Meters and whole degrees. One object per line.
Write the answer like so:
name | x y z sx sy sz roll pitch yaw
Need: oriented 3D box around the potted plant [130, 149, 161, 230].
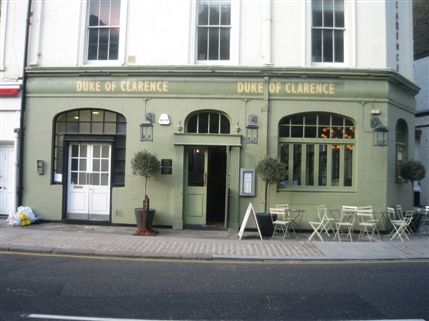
potted plant | -2.720 1.197 20.451 1.130 3.348 1.559 1 -2 -7

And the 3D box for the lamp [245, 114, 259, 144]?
lamp | 1.517 -1.301 20.885 0.510 1.207 0.577 0 -2 4

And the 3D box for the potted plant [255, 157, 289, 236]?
potted plant | 2.243 1.411 20.612 1.249 3.184 1.624 0 -2 8

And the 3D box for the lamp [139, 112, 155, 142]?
lamp | -2.723 -1.391 20.958 0.565 1.197 0.797 1 -2 -8
